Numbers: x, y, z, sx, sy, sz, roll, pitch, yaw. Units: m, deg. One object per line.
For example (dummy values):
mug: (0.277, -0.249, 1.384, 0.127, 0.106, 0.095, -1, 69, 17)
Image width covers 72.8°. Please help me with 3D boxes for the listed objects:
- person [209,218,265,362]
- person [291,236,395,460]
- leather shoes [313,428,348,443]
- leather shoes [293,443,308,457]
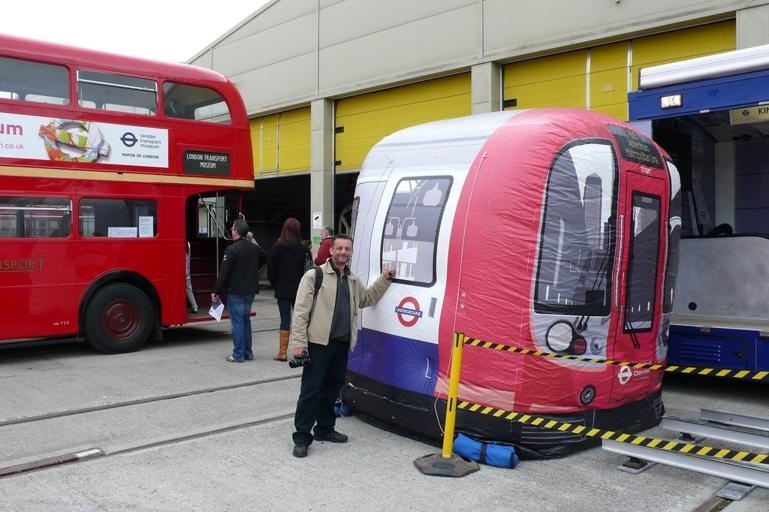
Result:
person: (-2.692, 0.630, 9.718, 0.936, 2.588, 0.662, 0, 3, -16)
person: (-0.586, 0.951, 5.869, 1.105, 2.352, 0.383, -1, 3, -32)
leather shoes: (-0.623, 2.070, 6.052, 0.401, 0.172, 0.149, 0, -2, 1)
leather shoes: (-0.903, 2.081, 5.644, 0.164, 0.115, 0.197, 0, 3, -10)
